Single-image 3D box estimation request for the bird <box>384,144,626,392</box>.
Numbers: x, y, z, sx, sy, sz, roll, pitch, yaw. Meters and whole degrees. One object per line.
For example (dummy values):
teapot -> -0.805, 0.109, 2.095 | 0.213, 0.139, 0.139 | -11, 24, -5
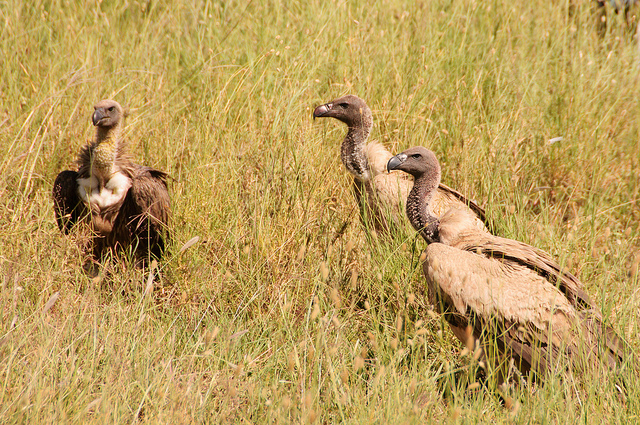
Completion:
bird -> 1.471, 0.578, 6.078 | 1.126, 1.057, 2.367 | -43, 75, -11
